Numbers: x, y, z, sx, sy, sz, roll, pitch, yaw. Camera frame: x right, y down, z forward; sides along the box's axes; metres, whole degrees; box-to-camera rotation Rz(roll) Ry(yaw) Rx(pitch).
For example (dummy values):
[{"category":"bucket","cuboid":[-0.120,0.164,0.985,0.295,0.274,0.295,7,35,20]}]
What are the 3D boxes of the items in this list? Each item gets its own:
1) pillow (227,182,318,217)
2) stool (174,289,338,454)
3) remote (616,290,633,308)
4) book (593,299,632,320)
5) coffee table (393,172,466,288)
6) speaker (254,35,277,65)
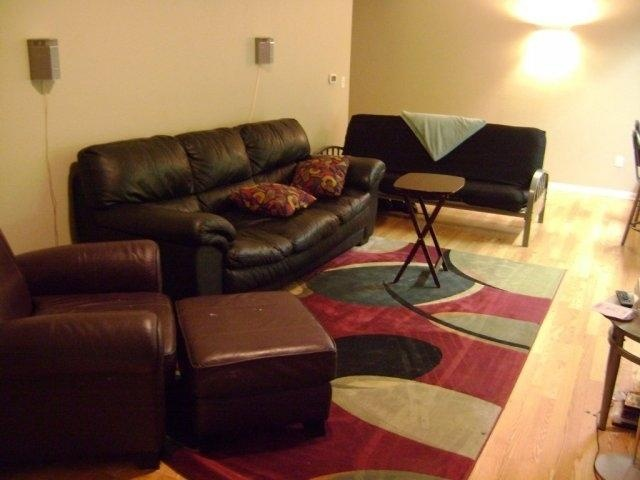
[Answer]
[{"category":"pillow","cuboid":[-0.403,-0.324,3.840,0.375,0.148,0.377,10,15,26]},{"category":"stool","cuboid":[-0.329,0.669,2.484,0.684,0.472,0.648,-5,26,-18]},{"category":"remote","cuboid":[1.467,0.288,2.410,0.065,0.035,0.139,4,22,13]},{"category":"book","cuboid":[1.302,0.294,2.229,0.103,0.014,0.101,-14,23,-42]},{"category":"coffee table","cuboid":[0.926,-0.075,4.273,0.718,0.920,0.796,6,23,22]},{"category":"speaker","cuboid":[-0.507,-1.735,4.566,0.148,0.262,0.289,7,16,25]}]
